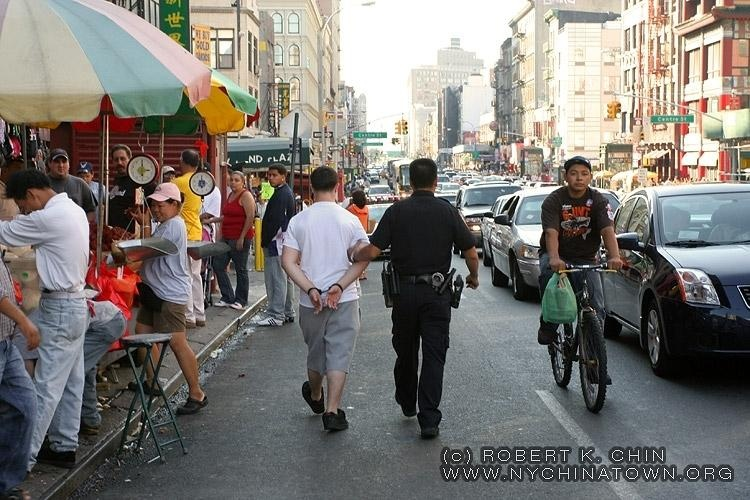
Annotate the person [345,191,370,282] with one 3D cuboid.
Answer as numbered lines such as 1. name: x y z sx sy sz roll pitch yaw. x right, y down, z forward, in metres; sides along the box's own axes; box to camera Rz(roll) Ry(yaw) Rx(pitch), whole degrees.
1. person: -0.446 -0.373 18.368 0.639 2.403 0.737 1 5 2

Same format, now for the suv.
1. suv: 3.915 -1.397 24.744 1.852 1.913 4.287 0 3 -1

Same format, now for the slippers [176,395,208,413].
1. slippers: -2.064 1.773 7.768 0.131 0.146 0.360 0 10 36

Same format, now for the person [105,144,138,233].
1. person: -3.857 -0.897 10.398 0.539 1.712 0.751 1 0 -1

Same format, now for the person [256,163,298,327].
1. person: -2.003 0.000 12.279 0.910 3.229 1.062 1 -1 6

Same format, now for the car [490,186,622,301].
1. car: 3.137 -0.248 14.978 1.846 2.179 5.077 0 2 4

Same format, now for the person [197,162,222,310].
1. person: -3.254 -0.283 13.443 0.633 2.554 0.835 -3 0 -33

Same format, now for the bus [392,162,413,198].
1. bus: 3.324 -8.083 75.383 2.511 3.482 6.744 -1 4 -3

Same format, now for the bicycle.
1. bicycle: 2.407 0.941 8.226 0.939 1.576 2.507 1 0 4

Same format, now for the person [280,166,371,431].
1. person: -0.516 0.477 7.486 0.967 2.672 1.189 0 0 -5

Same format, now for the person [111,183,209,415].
1. person: -2.514 0.505 7.692 0.883 2.534 0.986 4 2 25

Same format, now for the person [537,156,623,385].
1. person: 2.359 0.034 7.757 0.692 2.054 1.021 0 1 9

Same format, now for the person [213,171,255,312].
1. person: -2.711 -0.155 13.172 0.808 2.770 0.730 1 0 -11

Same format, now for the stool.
1. stool: -2.189 1.432 6.603 0.537 1.157 0.551 -2 -4 4
